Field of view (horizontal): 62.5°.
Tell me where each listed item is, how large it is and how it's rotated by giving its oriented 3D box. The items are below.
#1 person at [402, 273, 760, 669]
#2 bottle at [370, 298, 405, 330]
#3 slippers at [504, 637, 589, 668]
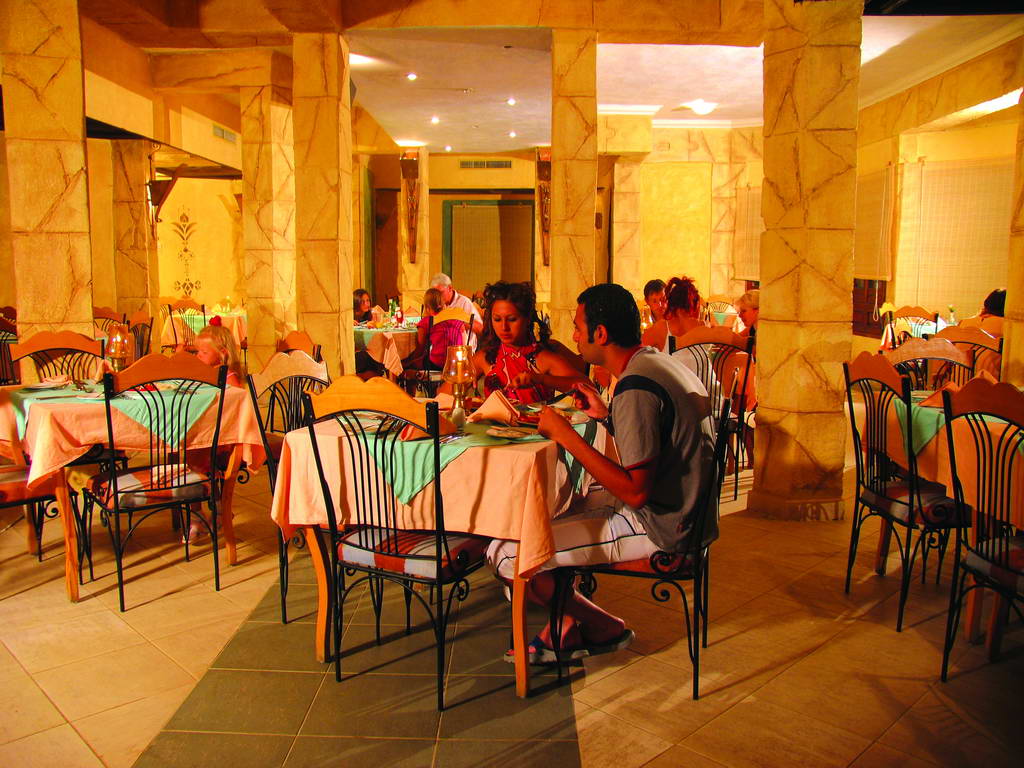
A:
[{"bbox_3d":[0.331,0.408,3.820,0.908,1.693,1.132,-4,7,-24],"label":"person"},{"bbox_3d":[-1.591,-0.824,10.417,0.451,0.262,0.642,1,5,0],"label":"bottle"},{"bbox_3d":[0.152,1.234,3.815,0.398,0.124,0.154,2,-7,-4],"label":"slippers"}]
